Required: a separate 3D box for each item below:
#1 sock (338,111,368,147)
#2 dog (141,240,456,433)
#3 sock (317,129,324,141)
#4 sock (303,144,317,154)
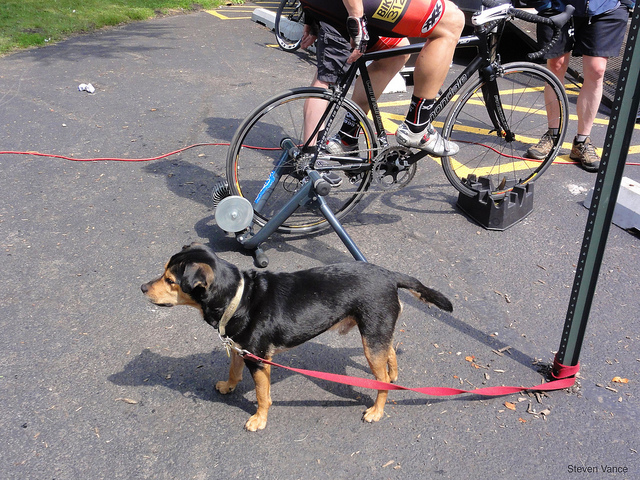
[{"bbox_3d":[0.288,-1.069,4.895,0.207,0.360,0.118,11,39,-1],"label":"sock"},{"bbox_3d":[-0.094,0.619,3.498,2.165,1.058,0.601,-1,12,-9],"label":"dog"},{"bbox_3d":[0.002,-0.949,4.609,0.032,0.091,0.055,31,42,21],"label":"sock"},{"bbox_3d":[-0.079,-0.825,4.621,0.105,0.073,0.046,4,39,-10],"label":"sock"}]
